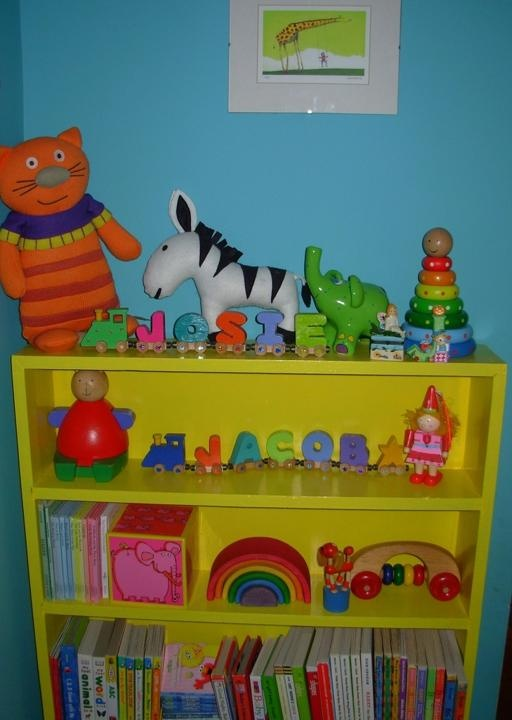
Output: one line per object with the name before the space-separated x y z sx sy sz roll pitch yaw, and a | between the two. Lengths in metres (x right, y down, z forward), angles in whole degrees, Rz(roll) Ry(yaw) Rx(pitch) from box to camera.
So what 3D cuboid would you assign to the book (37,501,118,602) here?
book | -0.402 0.426 1.555 0.204 0.284 0.206 1 7 -4
